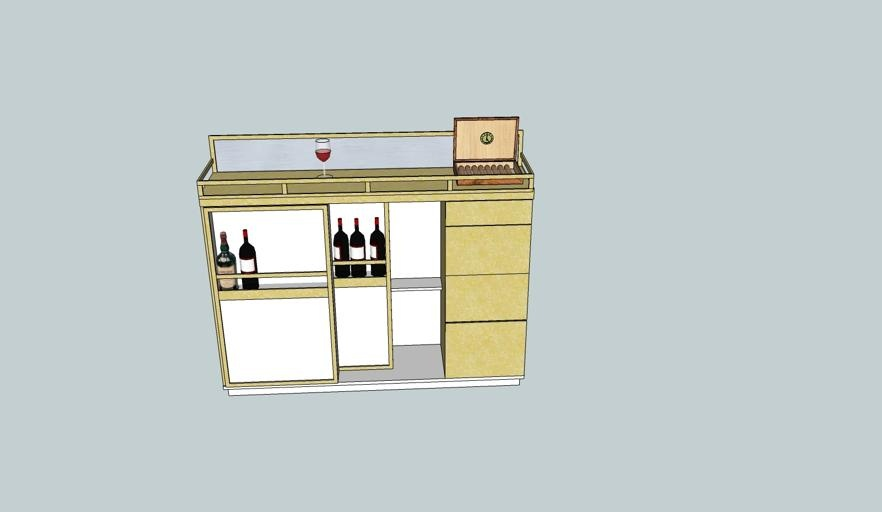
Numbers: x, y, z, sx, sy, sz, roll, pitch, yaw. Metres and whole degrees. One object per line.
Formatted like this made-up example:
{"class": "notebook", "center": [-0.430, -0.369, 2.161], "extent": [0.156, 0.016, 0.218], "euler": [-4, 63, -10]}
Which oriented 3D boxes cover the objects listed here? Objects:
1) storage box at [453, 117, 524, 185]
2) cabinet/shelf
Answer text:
{"class": "storage box", "center": [0.462, -1.076, 12.735], "extent": [0.752, 0.518, 0.569], "euler": [-2, -68, -7]}
{"class": "cabinet/shelf", "center": [-0.789, 0.005, 12.698], "extent": [3.278, 0.759, 2.156], "euler": [-1, -65, -3]}
